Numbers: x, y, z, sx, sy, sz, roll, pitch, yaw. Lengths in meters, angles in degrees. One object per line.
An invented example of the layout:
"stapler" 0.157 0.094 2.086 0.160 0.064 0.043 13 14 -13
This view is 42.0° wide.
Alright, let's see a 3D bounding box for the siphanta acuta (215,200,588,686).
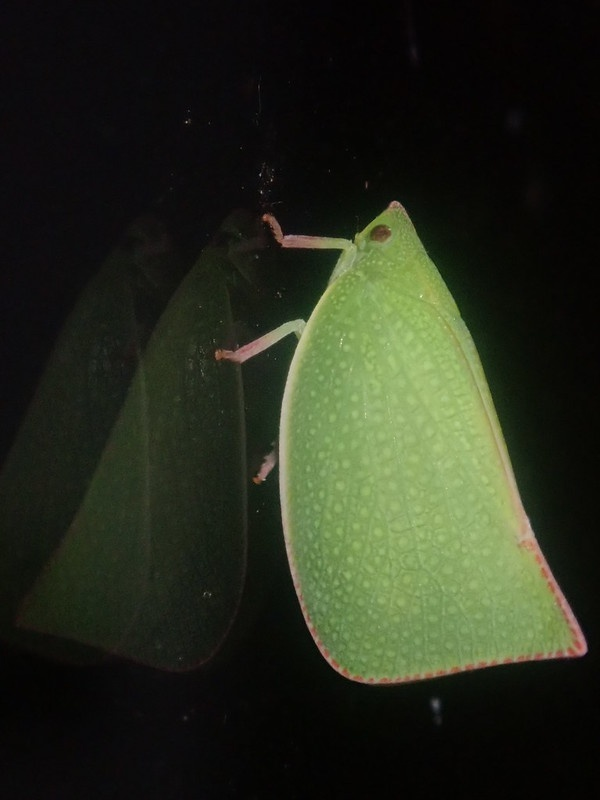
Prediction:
"siphanta acuta" 0.092 0.071 0.876 0.299 0.244 0.563 -27 60 -2
